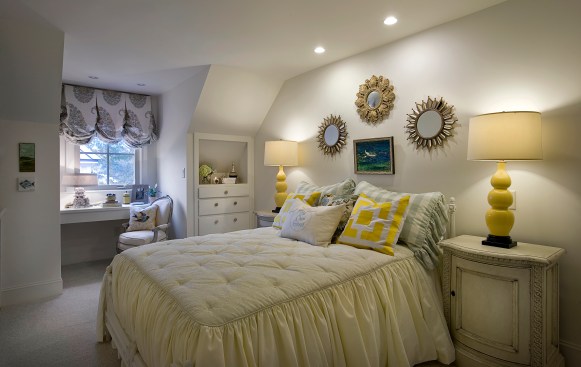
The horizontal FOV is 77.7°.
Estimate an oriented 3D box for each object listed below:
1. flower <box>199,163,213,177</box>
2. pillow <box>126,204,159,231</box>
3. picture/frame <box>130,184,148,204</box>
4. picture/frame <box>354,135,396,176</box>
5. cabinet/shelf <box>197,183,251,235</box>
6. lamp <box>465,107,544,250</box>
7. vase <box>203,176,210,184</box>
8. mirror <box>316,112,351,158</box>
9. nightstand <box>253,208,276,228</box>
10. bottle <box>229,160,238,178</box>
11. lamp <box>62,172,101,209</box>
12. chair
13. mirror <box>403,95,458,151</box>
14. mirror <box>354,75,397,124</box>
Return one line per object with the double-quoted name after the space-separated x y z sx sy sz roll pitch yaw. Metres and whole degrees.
-1.392 -0.217 5.956 0.212 0.189 0.210 -3 -1 -43 "flower"
-2.372 0.494 5.768 0.408 0.136 0.447 12 -12 9 "pillow"
-2.549 0.181 6.109 0.298 0.410 0.040 -1 -7 -22 "picture/frame"
1.082 -0.362 4.565 0.510 0.457 0.055 -1 1 45 "picture/frame"
-1.148 0.474 6.048 0.993 0.945 0.348 -2 6 -35 "cabinet/shelf"
2.096 -0.047 3.567 0.654 1.312 0.302 2 3 19 "lamp"
-1.392 -0.068 6.008 0.104 0.075 0.107 2 5 11 "vase"
0.610 -0.677 4.976 0.037 0.703 0.634 2 0 -38 "mirror"
-0.381 0.509 5.273 0.260 0.336 0.354 1 -1 -33 "nightstand"
-0.975 -0.255 6.238 0.145 0.277 0.290 0 2 -9 "bottle"
-3.258 0.086 5.619 0.527 0.585 0.534 -1 2 -34 "lamp"
-2.196 0.709 5.487 0.785 1.018 0.803 2 0 -25 "chair"
1.634 -0.706 4.150 0.081 0.770 0.647 -2 4 -41 "mirror"
1.088 -1.069 4.553 0.036 0.722 0.661 1 1 -38 "mirror"
